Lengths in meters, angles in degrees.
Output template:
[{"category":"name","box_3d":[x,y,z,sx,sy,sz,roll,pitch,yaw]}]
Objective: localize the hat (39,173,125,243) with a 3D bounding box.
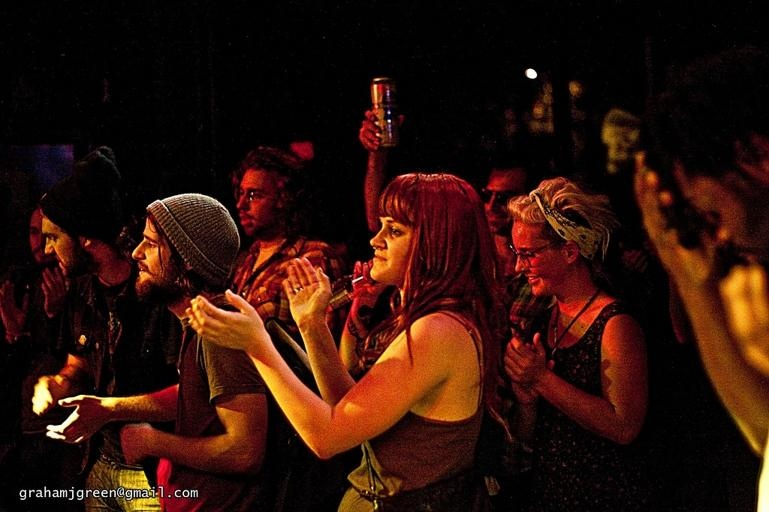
[{"category":"hat","box_3d":[-1.993,-0.412,4.240,0.559,0.463,0.434,10,-4,37]}]

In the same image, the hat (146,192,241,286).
[{"category":"hat","box_3d":[-0.970,-0.117,3.432,0.522,0.418,0.458,27,13,-17]}]
